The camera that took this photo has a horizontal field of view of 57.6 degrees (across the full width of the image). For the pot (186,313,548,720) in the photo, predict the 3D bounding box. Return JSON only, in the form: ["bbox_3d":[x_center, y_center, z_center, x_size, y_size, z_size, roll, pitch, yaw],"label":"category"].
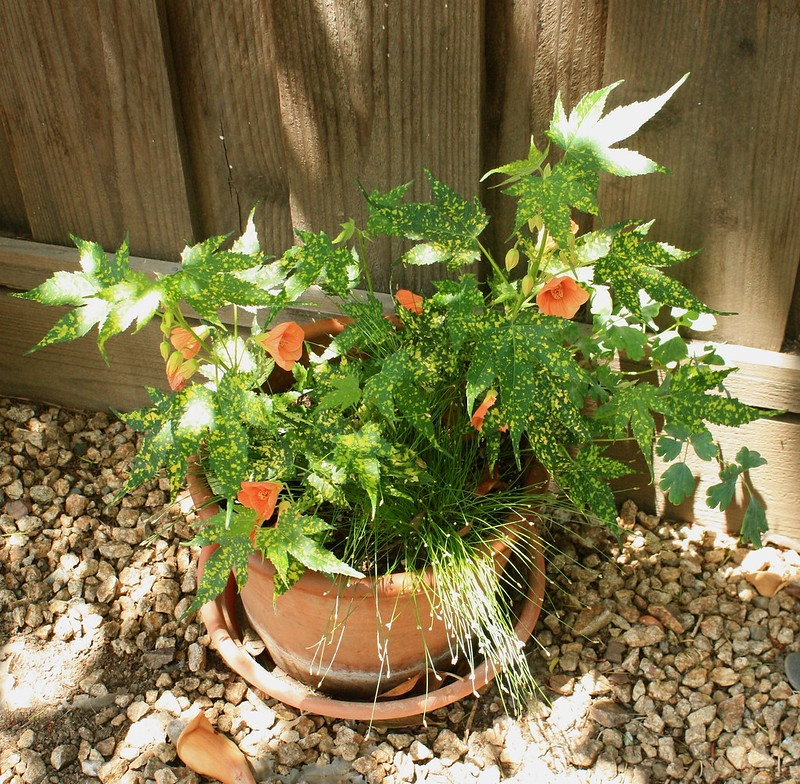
[{"bbox_3d":[-0.049,0.389,1.805,0.966,0.599,0.844,-2,44,-3],"label":"pot"}]

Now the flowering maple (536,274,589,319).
[{"bbox_3d":[0.272,-0.150,1.206,0.080,0.069,0.067,-8,39,-7],"label":"flowering maple"}]
